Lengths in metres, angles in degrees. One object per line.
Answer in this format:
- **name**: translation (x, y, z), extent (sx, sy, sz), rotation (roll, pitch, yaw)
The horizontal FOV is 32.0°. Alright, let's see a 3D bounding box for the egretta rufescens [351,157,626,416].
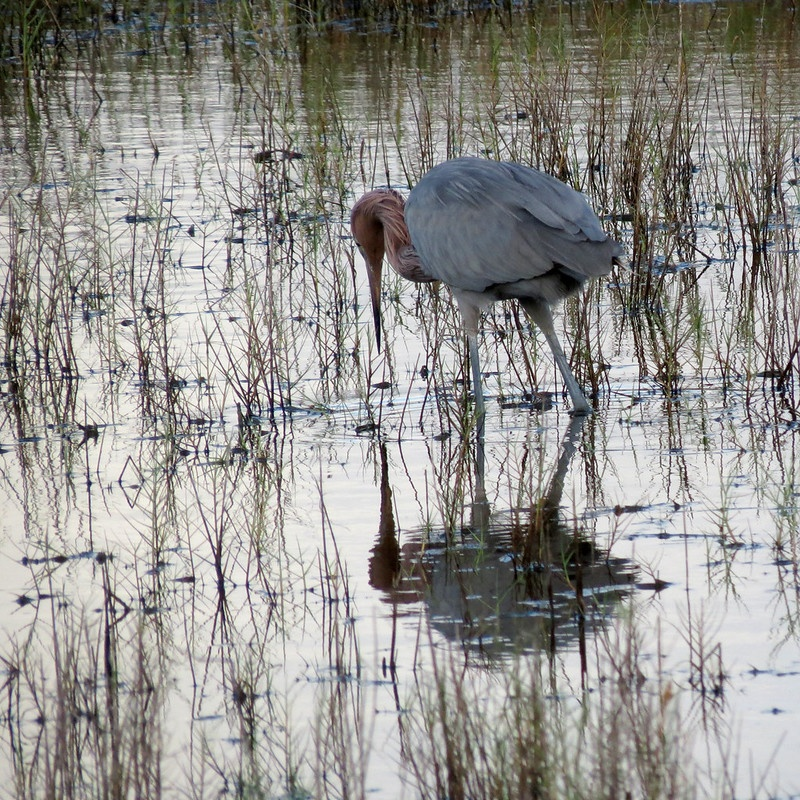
- **egretta rufescens**: translation (0.350, -0.458, 6.393), extent (1.435, 1.255, 0.518), rotation (-8, 5, 43)
